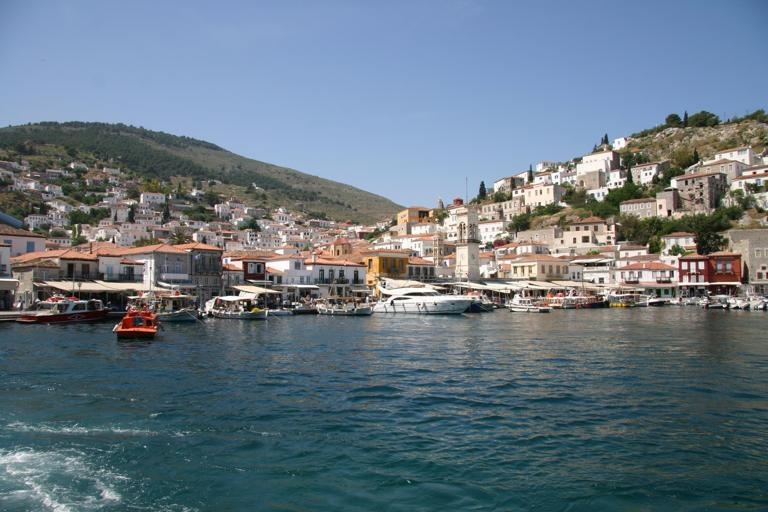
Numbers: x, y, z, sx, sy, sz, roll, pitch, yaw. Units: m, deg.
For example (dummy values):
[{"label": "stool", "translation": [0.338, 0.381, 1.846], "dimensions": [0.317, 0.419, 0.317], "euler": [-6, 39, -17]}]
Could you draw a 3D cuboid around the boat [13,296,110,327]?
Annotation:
[{"label": "boat", "translation": [-29.382, 5.110, 68.881], "dimensions": [7.067, 1.828, 3.283], "euler": [3, -5, -39]}]
